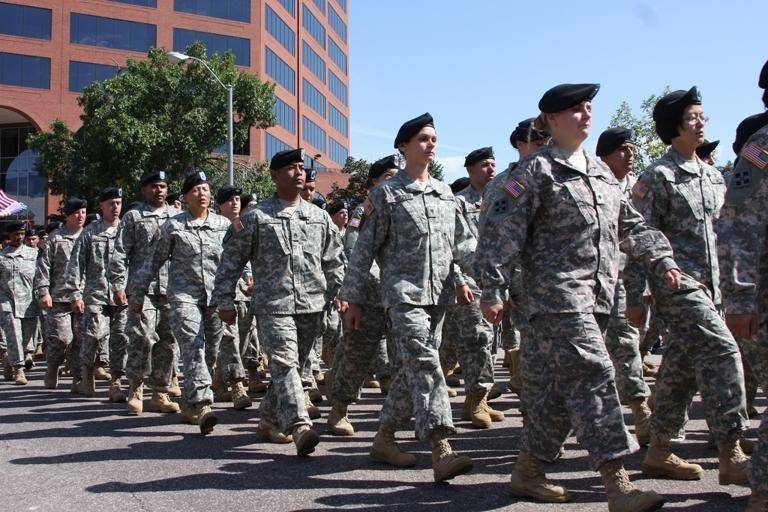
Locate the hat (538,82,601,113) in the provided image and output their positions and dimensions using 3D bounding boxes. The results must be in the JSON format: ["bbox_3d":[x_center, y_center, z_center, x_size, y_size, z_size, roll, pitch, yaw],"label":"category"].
[{"bbox_3d":[1.503,-1.326,6.776,0.476,0.230,0.419,-1,-11,11],"label":"hat"}]

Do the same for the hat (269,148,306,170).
[{"bbox_3d":[-1.040,-1.004,8.880,0.310,0.112,0.268,-9,-3,36],"label":"hat"}]
